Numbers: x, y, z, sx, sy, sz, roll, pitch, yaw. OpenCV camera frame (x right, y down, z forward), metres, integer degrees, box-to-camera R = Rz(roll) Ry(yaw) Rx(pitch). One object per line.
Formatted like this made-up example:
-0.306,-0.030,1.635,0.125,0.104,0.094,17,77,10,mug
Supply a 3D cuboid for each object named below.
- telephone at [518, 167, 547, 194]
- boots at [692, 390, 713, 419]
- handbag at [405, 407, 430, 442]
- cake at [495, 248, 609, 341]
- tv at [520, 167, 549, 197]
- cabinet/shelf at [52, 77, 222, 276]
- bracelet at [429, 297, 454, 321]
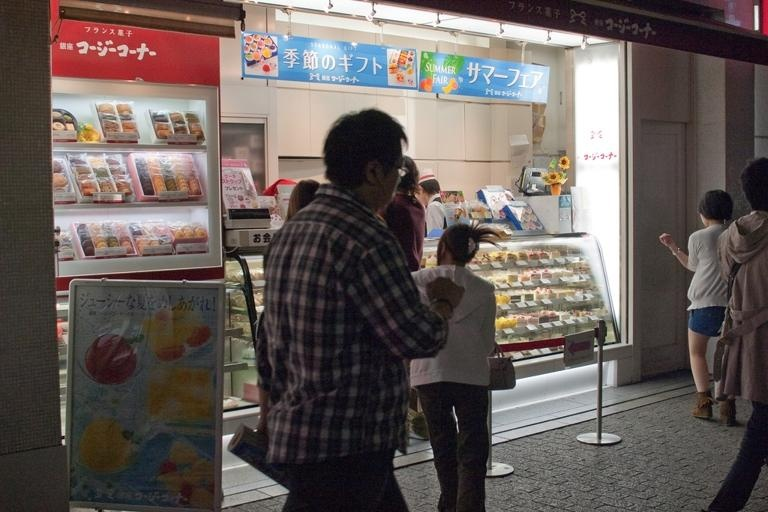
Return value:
1.873,-0.931,7.154,0.451,0.390,0.340,-1,-10,17,telephone
3.190,1.492,5.779,0.155,0.218,0.317,0,1,-1,boots
0.300,1.450,5.049,0.111,0.331,0.244,-29,41,7,handbag
1.776,0.436,6.210,1.142,0.956,0.370,-2,-3,-33,cake
1.859,-0.930,7.134,0.348,0.361,0.451,1,2,19,tv
-2.031,-0.629,4.589,1.798,1.534,0.577,-3,4,-35,cabinet/shelf
0.260,0.233,2.535,0.101,0.091,0.096,6,-23,-42,bracelet
